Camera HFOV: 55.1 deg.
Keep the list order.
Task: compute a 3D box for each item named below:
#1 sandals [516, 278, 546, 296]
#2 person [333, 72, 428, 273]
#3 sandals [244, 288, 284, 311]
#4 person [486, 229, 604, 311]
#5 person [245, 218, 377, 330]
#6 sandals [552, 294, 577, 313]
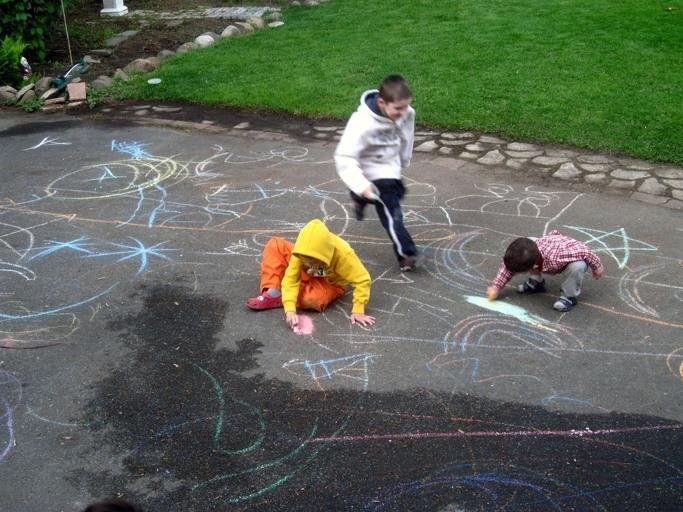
[{"bbox_3d":[1.617,0.254,5.514,0.267,0.110,0.111,3,18,8],"label":"sandals"},{"bbox_3d":[0.331,-0.742,5.745,0.763,1.682,0.973,2,34,-1],"label":"person"},{"bbox_3d":[-0.620,0.358,5.402,0.419,0.132,0.120,-5,31,-21],"label":"sandals"},{"bbox_3d":[1.707,0.110,5.456,1.044,0.410,0.605,-4,11,-8],"label":"person"},{"bbox_3d":[-0.122,0.075,5.348,1.236,0.641,0.795,11,29,24],"label":"person"},{"bbox_3d":[1.834,0.392,5.331,0.253,0.073,0.111,-6,7,-39],"label":"sandals"}]
